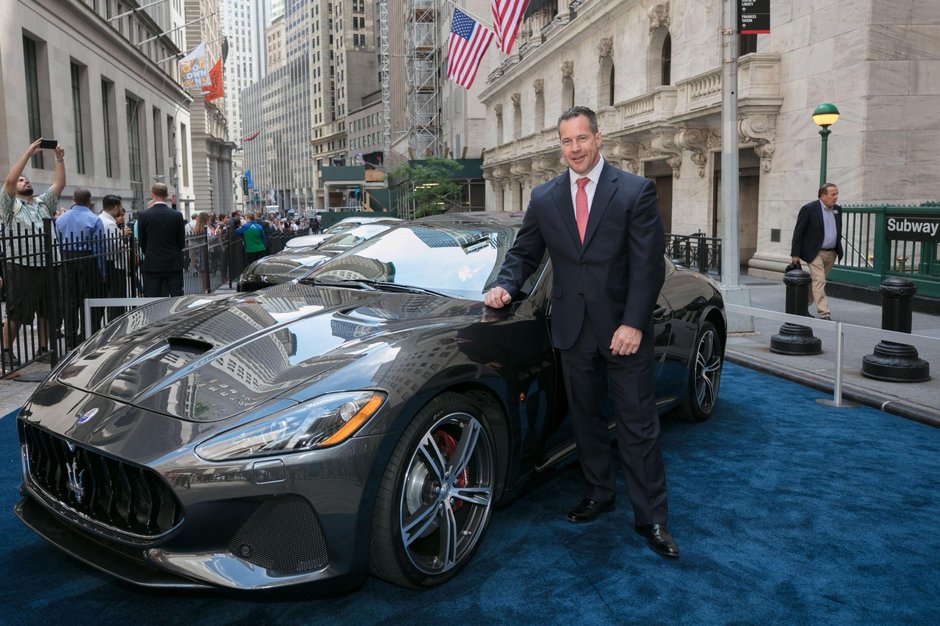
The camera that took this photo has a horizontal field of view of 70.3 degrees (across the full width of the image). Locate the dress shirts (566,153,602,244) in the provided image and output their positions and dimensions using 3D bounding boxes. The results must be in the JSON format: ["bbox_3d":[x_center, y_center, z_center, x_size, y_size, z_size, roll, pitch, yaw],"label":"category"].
[{"bbox_3d":[0.743,-0.743,4.452,0.252,0.541,0.120,0,0,31],"label":"dress shirts"}]

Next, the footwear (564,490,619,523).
[{"bbox_3d":[0.870,1.385,4.780,0.374,0.163,0.147,0,-1,-32],"label":"footwear"}]

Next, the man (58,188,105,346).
[{"bbox_3d":[-5.437,-0.600,9.279,0.592,2.077,0.593,1,-1,-4],"label":"man"}]

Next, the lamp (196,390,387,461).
[{"bbox_3d":[-0.992,0.639,3.708,1.134,0.351,0.270,-6,6,6],"label":"lamp"}]

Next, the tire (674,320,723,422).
[{"bbox_3d":[2.143,0.533,6.300,0.242,0.699,0.687,6,39,32],"label":"tire"}]

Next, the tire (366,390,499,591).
[{"bbox_3d":[-0.258,1.055,4.002,0.348,1.078,1.045,-2,10,31],"label":"tire"}]

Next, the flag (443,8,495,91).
[{"bbox_3d":[-0.091,-9.748,24.705,1.463,2.868,1.475,-2,13,-7],"label":"flag"}]

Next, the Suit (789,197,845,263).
[{"bbox_3d":[5.859,-1.334,11.248,0.961,1.021,0.409,-6,14,-25],"label":"Suit"}]

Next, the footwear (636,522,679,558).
[{"bbox_3d":[1.272,1.505,4.505,0.124,0.134,0.323,-7,9,-28],"label":"footwear"}]
